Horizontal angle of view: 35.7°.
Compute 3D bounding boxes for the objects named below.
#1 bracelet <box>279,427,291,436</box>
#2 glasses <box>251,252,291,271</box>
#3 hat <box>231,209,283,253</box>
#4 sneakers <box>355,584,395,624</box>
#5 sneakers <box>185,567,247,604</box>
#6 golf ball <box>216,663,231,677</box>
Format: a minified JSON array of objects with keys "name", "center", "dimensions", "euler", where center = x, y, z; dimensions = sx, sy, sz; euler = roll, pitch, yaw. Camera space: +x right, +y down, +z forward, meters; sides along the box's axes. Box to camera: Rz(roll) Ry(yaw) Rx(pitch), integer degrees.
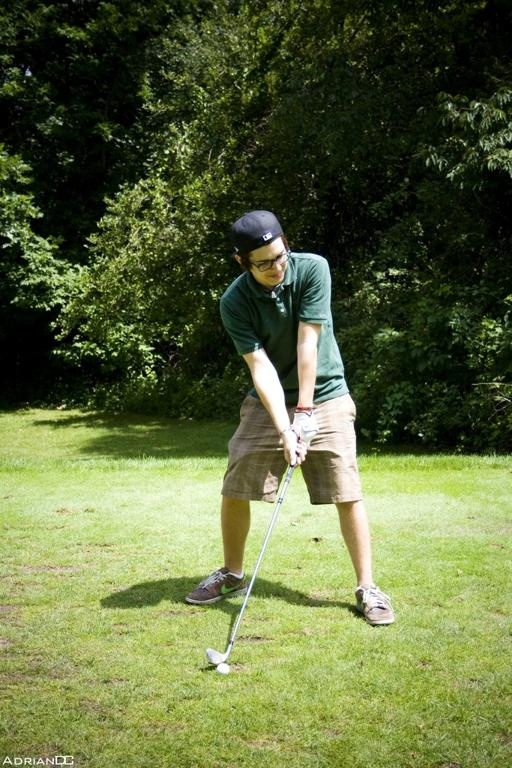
[{"name":"bracelet","center":[0.104,0.173,2.947],"dimensions":[0.027,0.024,0.007],"euler":[2,30,-29]},{"name":"glasses","center":[0.044,-0.461,2.985],"dimensions":[0.135,0.072,0.084],"euler":[-2,3,-1]},{"name":"hat","center":[0.003,-0.577,2.965],"dimensions":[0.193,0.178,0.180],"euler":[-2,3,-11]},{"name":"sneakers","center":[0.421,0.782,2.804],"dimensions":[0.127,0.100,0.183],"euler":[-2,2,-1]},{"name":"sneakers","center":[-0.151,0.789,3.133],"dimensions":[0.085,0.091,0.255],"euler":[3,2,40]},{"name":"golf ball","center":[-0.097,0.840,2.348],"dimensions":[0.037,0.018,0.035],"euler":[2,2,0]}]
